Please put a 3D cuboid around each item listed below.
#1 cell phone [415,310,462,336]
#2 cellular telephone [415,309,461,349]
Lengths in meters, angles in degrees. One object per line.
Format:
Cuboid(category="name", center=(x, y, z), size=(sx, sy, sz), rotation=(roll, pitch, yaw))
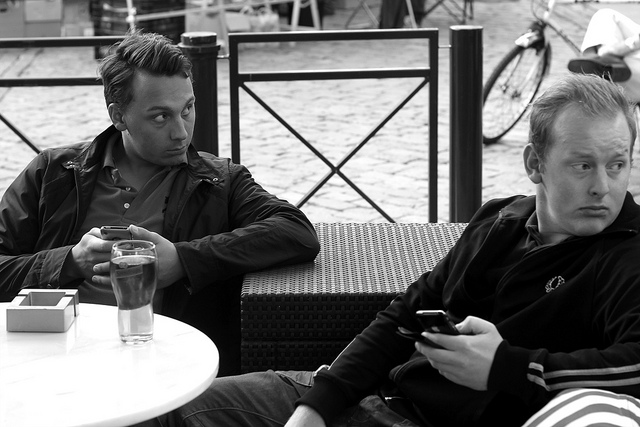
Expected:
Cuboid(category="cell phone", center=(0.426, 0.392, 3.205), size=(0.168, 0.110, 0.117), rotation=(1, 11, 2))
Cuboid(category="cellular telephone", center=(0.424, 0.394, 3.202), size=(0.156, 0.112, 0.108), rotation=(3, 11, 10))
